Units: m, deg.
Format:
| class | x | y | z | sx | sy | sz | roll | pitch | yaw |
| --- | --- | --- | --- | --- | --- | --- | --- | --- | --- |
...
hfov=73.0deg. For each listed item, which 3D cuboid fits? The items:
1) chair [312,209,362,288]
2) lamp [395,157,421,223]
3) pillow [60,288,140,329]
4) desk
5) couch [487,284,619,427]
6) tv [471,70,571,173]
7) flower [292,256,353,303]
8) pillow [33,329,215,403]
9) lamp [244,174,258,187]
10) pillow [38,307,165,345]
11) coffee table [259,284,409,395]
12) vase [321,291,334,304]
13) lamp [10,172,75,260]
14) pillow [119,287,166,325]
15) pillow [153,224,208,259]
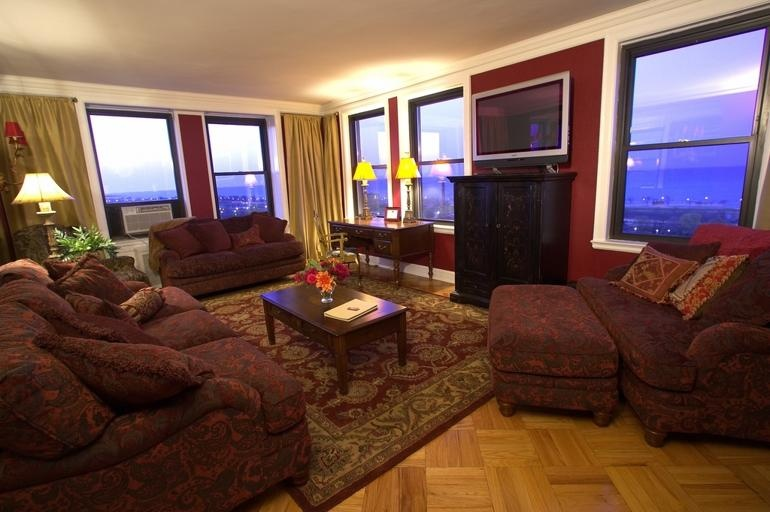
| class | x | y | z | sx | sy | sz | roll | pitch | yaw |
| --- | --- | --- | --- | --- | --- | --- | --- | --- | --- |
| chair | -0.604 | -0.053 | 7.036 | 0.636 | 0.869 | 0.588 | 0 | 1 | -6 |
| lamp | 0.321 | -0.921 | 6.942 | 0.285 | 0.876 | 0.730 | -2 | 15 | 3 |
| pillow | -2.158 | 0.384 | 3.948 | 0.385 | 0.129 | 0.311 | 12 | 4 | -31 |
| desk | -0.066 | -0.134 | 7.137 | 0.693 | 0.650 | 1.446 | -10 | 13 | -38 |
| couch | 1.525 | 0.929 | 4.638 | 0.941 | 0.641 | 1.391 | 1 | 2 | 20 |
| tv | 1.486 | -1.415 | 5.786 | 0.158 | 0.934 | 1.328 | -9 | 11 | -37 |
| flower | -0.566 | 0.231 | 4.905 | 0.463 | 0.379 | 0.448 | -2 | 14 | 13 |
| pillow | -1.626 | 0.700 | 3.238 | 0.631 | 0.249 | 0.609 | 14 | -3 | 8 |
| lamp | -2.100 | -1.194 | 8.128 | 0.186 | 0.187 | 0.176 | -11 | 23 | -32 |
| pillow | -1.968 | 0.481 | 3.522 | 0.390 | 0.101 | 0.404 | 19 | 5 | 42 |
| coffee table | -0.504 | 0.670 | 4.921 | 0.905 | 0.506 | 1.359 | -12 | 19 | -34 |
| vase | -0.531 | 0.380 | 4.849 | 0.120 | 0.092 | 0.113 | 0 | 4 | 37 |
| lamp | -3.775 | -0.464 | 5.759 | 0.487 | 0.906 | 0.705 | -18 | 21 | -42 |
| pillow | -2.084 | 0.420 | 4.529 | 0.150 | 0.147 | 0.492 | -29 | 8 | 2 |
| pillow | -2.600 | -0.198 | 6.584 | 0.494 | 0.335 | 0.499 | -16 | 20 | -41 |
